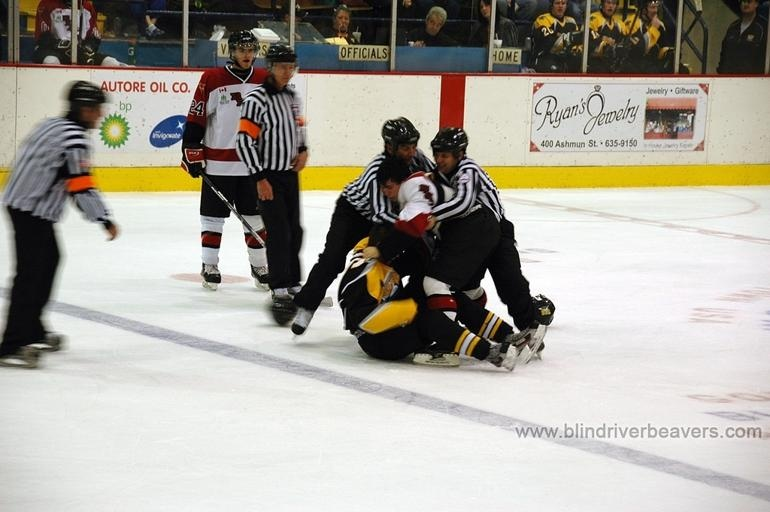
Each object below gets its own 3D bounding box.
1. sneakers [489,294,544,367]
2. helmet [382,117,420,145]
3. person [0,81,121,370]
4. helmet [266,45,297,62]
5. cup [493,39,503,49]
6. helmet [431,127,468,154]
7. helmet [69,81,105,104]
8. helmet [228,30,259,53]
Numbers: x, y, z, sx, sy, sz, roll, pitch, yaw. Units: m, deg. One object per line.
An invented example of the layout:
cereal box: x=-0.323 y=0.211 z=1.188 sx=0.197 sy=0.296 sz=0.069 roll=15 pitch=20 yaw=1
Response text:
sneakers: x=0.877 y=0.456 z=4.639 sx=0.266 sy=0.170 sz=0.528 roll=23 pitch=44 yaw=9
helmet: x=0.073 y=-0.796 z=4.775 sx=0.221 sy=0.178 sz=0.187 roll=-2 pitch=14 yaw=26
person: x=-1.878 y=-0.072 z=4.188 sx=0.656 sy=1.394 sz=0.302 roll=-2 pitch=15 yaw=-15
helmet: x=-0.776 y=-1.481 z=5.434 sx=0.215 sy=0.097 sz=0.141 roll=2 pitch=9 yaw=17
cup: x=1.863 y=-3.521 z=12.292 sx=0.126 sy=0.141 sz=0.150 roll=12 pitch=33 yaw=17
helmet: x=0.391 y=-0.719 z=4.613 sx=0.177 sy=0.161 sz=0.197 roll=7 pitch=8 yaw=41
helmet: x=-1.699 y=-0.916 z=4.239 sx=0.190 sy=0.132 sz=0.121 roll=11 pitch=32 yaw=-33
helmet: x=-1.188 y=-1.811 z=6.259 sx=0.243 sy=0.175 sz=0.185 roll=-8 pitch=20 yaw=-20
